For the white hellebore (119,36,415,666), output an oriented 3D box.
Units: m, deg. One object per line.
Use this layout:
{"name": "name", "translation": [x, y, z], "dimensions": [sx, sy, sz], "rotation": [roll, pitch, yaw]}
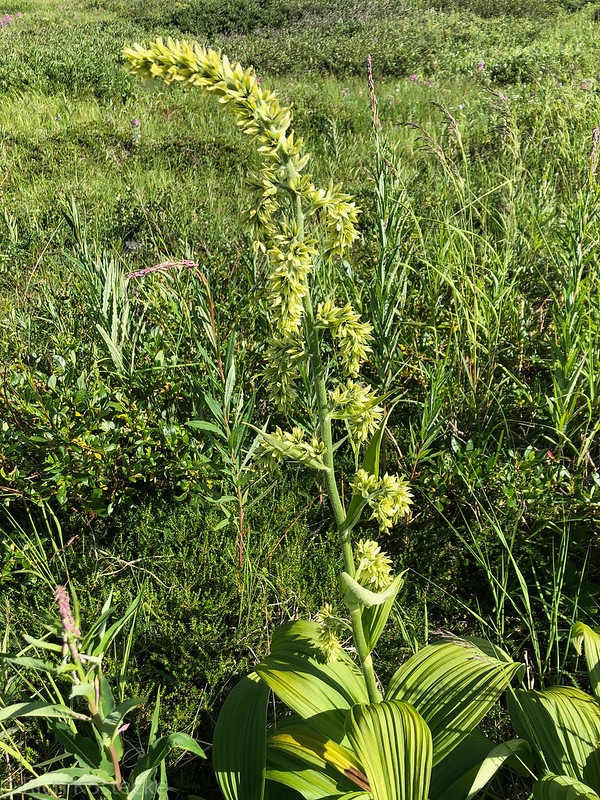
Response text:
{"name": "white hellebore", "translation": [0.010, -0.018, 1.585], "dimensions": [0.490, 1.467, 1.076], "rotation": [1, 23, 9]}
